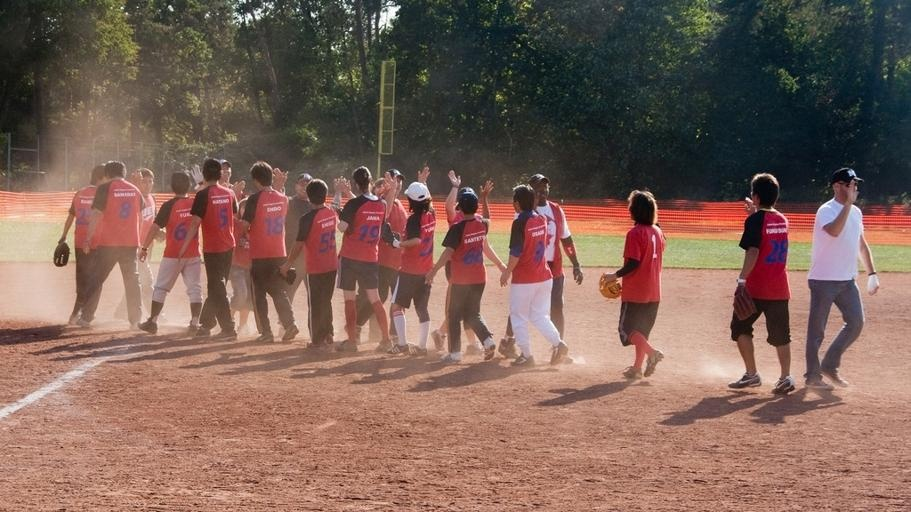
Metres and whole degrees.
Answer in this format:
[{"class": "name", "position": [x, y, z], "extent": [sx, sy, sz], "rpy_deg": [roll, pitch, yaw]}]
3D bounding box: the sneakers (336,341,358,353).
[{"class": "sneakers", "position": [-2.229, 1.905, 18.280], "extent": [0.461, 0.202, 0.207], "rpy_deg": [3, -3, 1]}]

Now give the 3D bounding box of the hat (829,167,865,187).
[{"class": "hat", "position": [7.500, -1.531, 16.722], "extent": [0.420, 0.302, 0.351], "rpy_deg": [0, 1, -37]}]

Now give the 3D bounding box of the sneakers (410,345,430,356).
[{"class": "sneakers", "position": [-0.733, 1.982, 18.143], "extent": [0.381, 0.137, 0.151], "rpy_deg": [9, 0, -6]}]

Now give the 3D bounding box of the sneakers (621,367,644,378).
[{"class": "sneakers", "position": [3.475, 2.296, 17.109], "extent": [0.382, 0.182, 0.183], "rpy_deg": [3, 6, 27]}]

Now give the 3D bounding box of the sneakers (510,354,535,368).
[{"class": "sneakers", "position": [1.359, 2.138, 17.596], "extent": [0.472, 0.235, 0.201], "rpy_deg": [2, -3, 7]}]

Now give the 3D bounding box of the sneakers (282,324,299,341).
[{"class": "sneakers", "position": [-3.501, 1.668, 18.674], "extent": [0.219, 0.457, 0.190], "rpy_deg": [33, 20, -50]}]

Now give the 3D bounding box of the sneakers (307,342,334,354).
[{"class": "sneakers", "position": [-2.789, 1.928, 18.247], "extent": [0.553, 0.217, 0.220], "rpy_deg": [4, -3, -1]}]

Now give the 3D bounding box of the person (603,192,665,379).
[{"class": "person", "position": [3.540, 0.582, 16.991], "extent": [1.008, 3.656, 0.647], "rpy_deg": [1, 1, 2]}]

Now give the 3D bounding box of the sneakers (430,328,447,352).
[{"class": "sneakers", "position": [-0.331, 1.752, 18.811], "extent": [0.285, 0.583, 0.209], "rpy_deg": [-7, 8, 14]}]

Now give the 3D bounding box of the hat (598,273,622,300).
[{"class": "hat", "position": [2.968, 0.583, 17.045], "extent": [0.392, 0.365, 0.513], "rpy_deg": [-7, 14, -42]}]

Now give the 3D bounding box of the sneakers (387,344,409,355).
[{"class": "sneakers", "position": [-1.182, 1.942, 18.094], "extent": [0.476, 0.217, 0.202], "rpy_deg": [2, 1, 24]}]

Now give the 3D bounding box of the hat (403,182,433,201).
[{"class": "hat", "position": [-0.796, -1.339, 17.881], "extent": [0.401, 0.233, 0.469], "rpy_deg": [-3, 21, -15]}]

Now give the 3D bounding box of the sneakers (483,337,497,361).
[{"class": "sneakers", "position": [0.732, 1.925, 17.818], "extent": [0.235, 0.513, 0.231], "rpy_deg": [-3, 42, -9]}]

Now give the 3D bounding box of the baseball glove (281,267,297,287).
[{"class": "baseball glove", "position": [-3.454, 0.411, 18.328], "extent": [0.368, 0.345, 0.360], "rpy_deg": [25, 27, 32]}]

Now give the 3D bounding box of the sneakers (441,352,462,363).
[{"class": "sneakers", "position": [-0.077, 2.099, 17.930], "extent": [0.378, 0.142, 0.190], "rpy_deg": [4, 5, 23]}]
